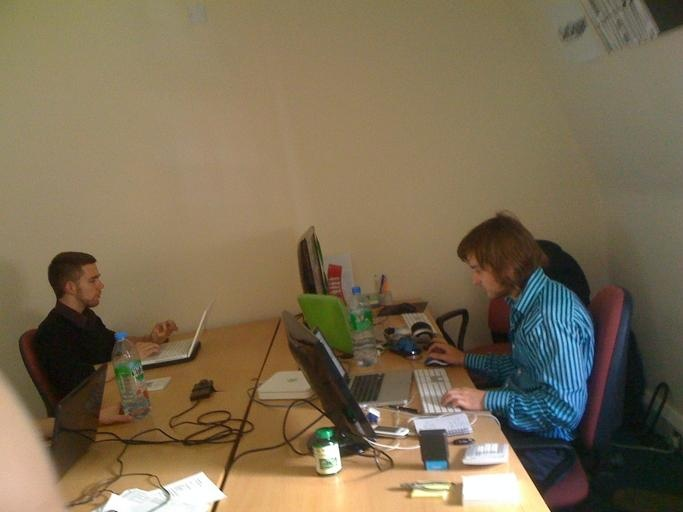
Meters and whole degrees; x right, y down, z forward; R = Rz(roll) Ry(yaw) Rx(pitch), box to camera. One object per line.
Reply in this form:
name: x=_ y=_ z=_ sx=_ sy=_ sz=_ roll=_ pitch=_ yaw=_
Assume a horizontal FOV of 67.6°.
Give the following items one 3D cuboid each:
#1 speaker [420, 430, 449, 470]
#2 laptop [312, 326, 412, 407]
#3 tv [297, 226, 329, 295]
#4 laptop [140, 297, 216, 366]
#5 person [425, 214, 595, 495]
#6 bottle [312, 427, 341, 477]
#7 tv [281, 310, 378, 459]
speaker: x=0.297 y=0.608 z=1.621 sx=0.111 sy=0.154 sz=0.092 roll=3 pitch=-14 yaw=-1
laptop: x=0.078 y=0.428 z=2.065 sx=0.370 sy=0.280 sz=0.388 roll=-10 pitch=4 yaw=15
tv: x=-0.167 y=0.073 z=2.618 sx=0.167 sy=0.342 sz=0.082 roll=2 pitch=14 yaw=44
laptop: x=-0.939 y=0.403 z=2.868 sx=0.471 sy=0.301 sz=0.507 roll=-5 pitch=4 yaw=-2
person: x=0.713 y=0.241 z=2.545 sx=0.840 sy=1.636 sz=0.911 roll=0 pitch=10 yaw=12
bottle: x=-0.048 y=0.620 z=1.627 sx=0.083 sy=0.142 sz=0.093 roll=-5 pitch=-2 yaw=-37
tv: x=-0.061 y=0.448 z=1.806 sx=0.171 sy=0.488 sz=0.473 roll=-16 pitch=15 yaw=-17
